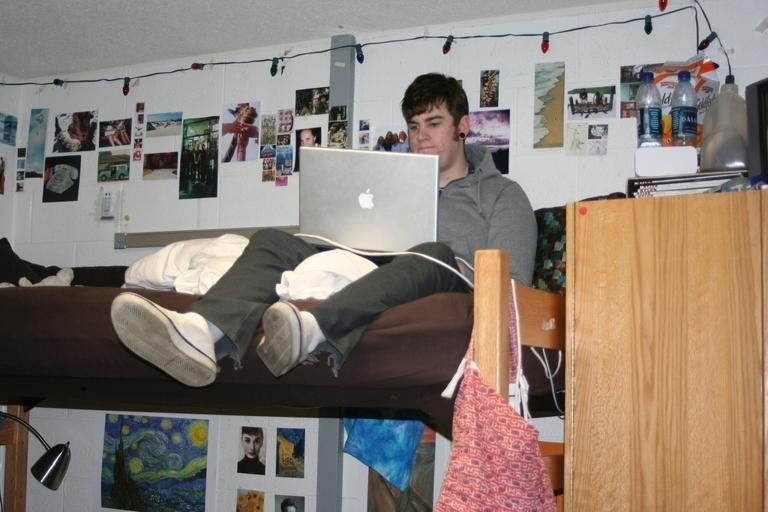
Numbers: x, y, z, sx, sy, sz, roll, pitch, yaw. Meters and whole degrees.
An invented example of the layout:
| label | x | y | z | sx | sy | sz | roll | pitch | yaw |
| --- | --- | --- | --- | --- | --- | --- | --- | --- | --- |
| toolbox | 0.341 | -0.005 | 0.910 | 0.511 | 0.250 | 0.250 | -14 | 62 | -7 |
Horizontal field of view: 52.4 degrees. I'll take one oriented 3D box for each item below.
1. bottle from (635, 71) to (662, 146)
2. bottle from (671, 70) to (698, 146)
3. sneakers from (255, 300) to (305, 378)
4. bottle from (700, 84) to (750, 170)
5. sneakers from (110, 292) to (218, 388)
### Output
| label | x | y | z | sx | sy | sz | roll | pitch | yaw |
| --- | --- | --- | --- | --- | --- | --- | --- | --- | --- |
| bottle | 1.216 | -0.669 | 3.578 | 0.108 | 0.332 | 0.381 | -1 | 1 | 19 |
| bottle | 1.352 | -0.666 | 3.526 | 0.104 | 0.323 | 0.303 | -1 | 0 | 21 |
| sneakers | -0.373 | 0.319 | 2.910 | 0.149 | 0.275 | 0.134 | 35 | 40 | 30 |
| bottle | 1.550 | -0.613 | 3.563 | 0.192 | 0.416 | 0.435 | -1 | 0 | 25 |
| sneakers | -0.798 | 0.298 | 3.020 | 0.458 | 0.226 | 0.224 | 37 | 22 | -4 |
